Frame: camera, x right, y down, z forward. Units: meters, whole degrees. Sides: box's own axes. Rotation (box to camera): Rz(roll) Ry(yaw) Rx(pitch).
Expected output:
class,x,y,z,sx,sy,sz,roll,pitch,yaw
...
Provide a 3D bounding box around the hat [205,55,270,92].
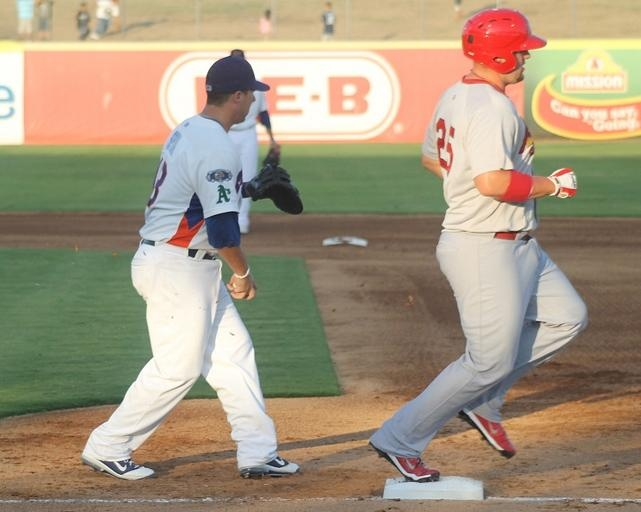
class,x,y,z,sx,sy,sz,roll,pitch,yaw
hat,-0.895,-1.766,14.796,0.467,0.329,0.198,-1,19,-4

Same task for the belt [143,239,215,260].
class,x,y,z,sx,sy,sz,roll,pitch,yaw
belt,-1.304,-0.053,14.797,0.385,0.078,0.302,11,8,-3

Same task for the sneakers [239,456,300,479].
class,x,y,z,sx,sy,sz,roll,pitch,yaw
sneakers,-0.498,2.088,15.025,0.634,0.225,0.201,-1,1,-13

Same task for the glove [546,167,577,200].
class,x,y,z,sx,sy,sz,roll,pitch,yaw
glove,2.346,-0.707,14.697,0.273,0.312,0.398,8,18,21

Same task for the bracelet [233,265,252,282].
class,x,y,z,sx,sy,sz,roll,pitch,yaw
bracelet,-0.751,0.137,14.873,0.146,0.124,0.269,8,18,22
